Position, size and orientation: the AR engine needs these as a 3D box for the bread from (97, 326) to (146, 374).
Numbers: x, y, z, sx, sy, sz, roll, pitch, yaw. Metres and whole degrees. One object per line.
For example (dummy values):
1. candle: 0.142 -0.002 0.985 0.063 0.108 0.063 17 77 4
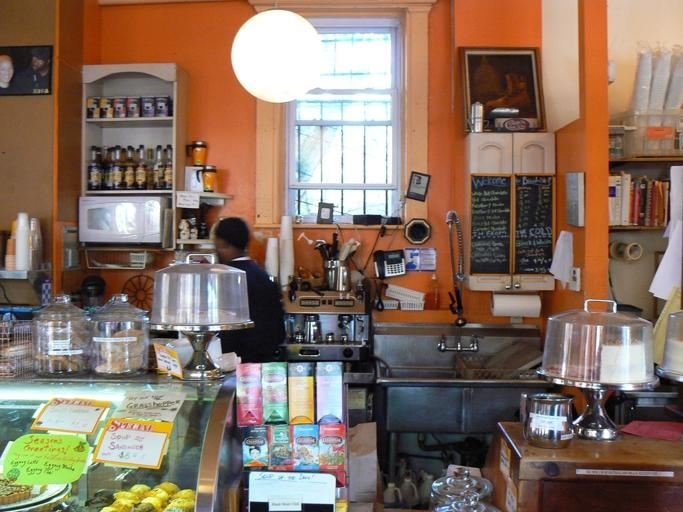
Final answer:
1. bread: -0.966 0.407 3.018 0.202 0.191 0.188 -1 -4 22

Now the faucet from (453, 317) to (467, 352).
1. faucet: 0.900 0.574 5.205 0.082 0.274 0.260 0 3 9

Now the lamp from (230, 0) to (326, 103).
1. lamp: -0.374 -1.143 3.925 0.506 0.482 0.241 -1 3 -3

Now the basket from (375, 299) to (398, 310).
1. basket: 0.355 0.376 5.396 0.191 0.079 0.077 -2 4 -20

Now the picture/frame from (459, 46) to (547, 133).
1. picture/frame: 1.208 -1.248 5.169 0.728 0.780 0.054 0 -6 -2

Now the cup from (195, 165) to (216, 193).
1. cup: -1.050 -0.600 5.348 0.218 0.215 0.139 -1 5 -17

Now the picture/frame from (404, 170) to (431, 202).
1. picture/frame: 0.605 -0.552 5.406 0.201 0.247 0.032 15 0 -3

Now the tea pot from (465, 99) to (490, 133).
1. tea pot: 0.989 -1.022 5.067 0.239 0.244 0.151 1 2 1

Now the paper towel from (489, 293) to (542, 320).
1. paper towel: 1.299 0.360 5.119 0.345 0.185 0.142 0 3 10

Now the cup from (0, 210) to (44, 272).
1. cup: -2.354 -0.106 5.025 0.233 0.415 0.301 -1 3 -1

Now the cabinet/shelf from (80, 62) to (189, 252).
1. cabinet/shelf: -1.650 -0.780 5.402 0.808 1.436 0.403 -1 3 3

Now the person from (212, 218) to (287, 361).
1. person: -0.595 0.206 4.163 0.452 0.883 0.389 0 3 12

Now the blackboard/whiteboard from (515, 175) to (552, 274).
1. blackboard/whiteboard: 1.407 -0.235 5.017 0.274 0.708 0.062 0 3 10

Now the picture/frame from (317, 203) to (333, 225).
1. picture/frame: -0.135 -0.342 5.502 0.147 0.188 0.152 1 -7 -5

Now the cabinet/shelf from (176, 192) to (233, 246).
1. cabinet/shelf: -1.139 -0.287 5.453 0.567 0.513 0.384 0 -3 -3

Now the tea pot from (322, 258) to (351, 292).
1. tea pot: -0.034 0.133 5.199 0.203 0.229 0.187 -1 3 0

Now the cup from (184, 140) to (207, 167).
1. cup: -1.146 -0.813 5.417 0.229 0.224 0.160 1 3 -3
